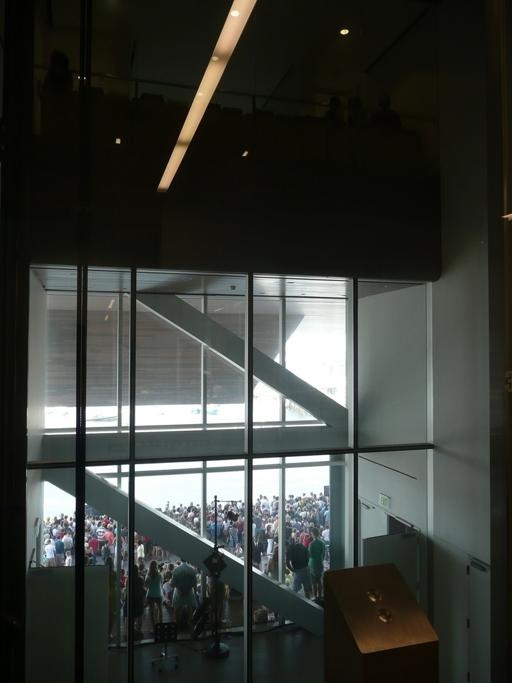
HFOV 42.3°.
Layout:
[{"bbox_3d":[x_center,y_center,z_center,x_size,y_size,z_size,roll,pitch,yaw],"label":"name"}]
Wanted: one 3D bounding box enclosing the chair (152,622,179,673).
[{"bbox_3d":[-0.562,1.831,4.108,0.128,0.372,0.185,2,12,-1],"label":"chair"}]
